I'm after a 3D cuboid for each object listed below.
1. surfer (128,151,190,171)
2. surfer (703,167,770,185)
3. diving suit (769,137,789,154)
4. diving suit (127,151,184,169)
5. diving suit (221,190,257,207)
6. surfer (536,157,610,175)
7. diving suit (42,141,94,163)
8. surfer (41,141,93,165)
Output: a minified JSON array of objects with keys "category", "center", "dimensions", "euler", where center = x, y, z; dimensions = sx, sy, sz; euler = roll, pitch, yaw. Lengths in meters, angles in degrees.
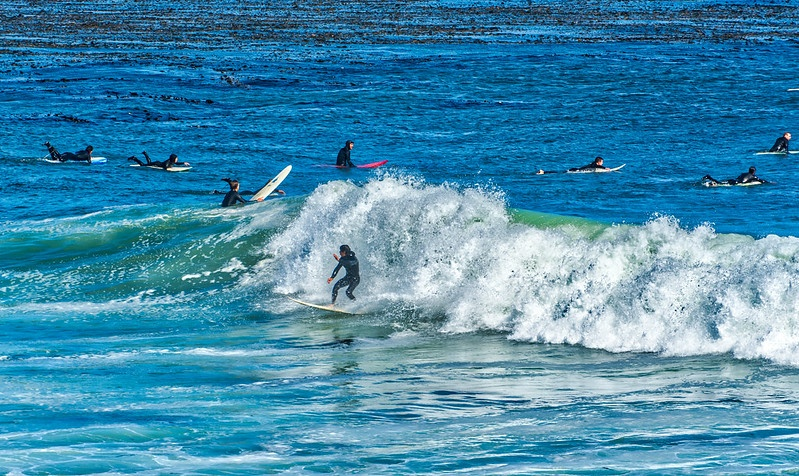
[{"category":"surfer","center":[-12.087,-4.008,72.774],"dimensions":[3.985,0.835,1.055],"euler":[3,17,13]},{"category":"surfer","center":[16.993,-3.012,71.100],"dimensions":[2.326,0.488,1.390],"euler":[-4,8,-4]},{"category":"diving suit","center":[20.732,-5.192,76.377],"dimensions":[0.981,1.073,0.469],"euler":[4,23,6]},{"category":"diving suit","center":[-12.536,-4.126,72.755],"dimensions":[3.426,0.674,0.994],"euler":[7,24,18]},{"category":"diving suit","center":[-7.568,-1.868,65.019],"dimensions":[1.235,0.661,0.793],"euler":[-4,20,-16]},{"category":"surfer","center":[9.041,-3.796,73.730],"dimensions":[4.366,0.615,1.111],"euler":[-6,9,-1]},{"category":"diving suit","center":[-17.101,-4.523,73.239],"dimensions":[2.195,0.631,1.239],"euler":[-1,13,0]},{"category":"surfer","center":[-17.129,-4.418,73.300],"dimensions":[2.288,0.655,1.247],"euler":[-1,11,1]}]
